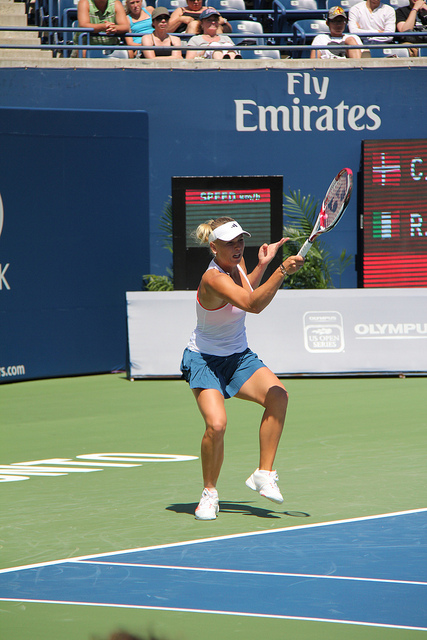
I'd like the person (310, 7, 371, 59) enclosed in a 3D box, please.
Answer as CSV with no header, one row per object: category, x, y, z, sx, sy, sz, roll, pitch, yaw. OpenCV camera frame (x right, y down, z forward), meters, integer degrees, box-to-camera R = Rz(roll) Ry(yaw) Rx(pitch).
person,1.726,-3.933,12.872,0.801,0.859,1.336,0,5,7

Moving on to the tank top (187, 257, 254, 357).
tank top,0.025,0.046,5.500,0.355,0.344,0.365,-1,5,-2

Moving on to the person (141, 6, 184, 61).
person,-0.686,-3.846,12.670,0.581,0.842,1.218,-1,5,-2

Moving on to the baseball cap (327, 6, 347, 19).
baseball cap,1.726,-4.340,13.276,0.222,0.202,0.497,-1,5,3

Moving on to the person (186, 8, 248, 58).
person,-0.030,-4.051,13.253,0.619,0.717,1.148,-2,18,-16

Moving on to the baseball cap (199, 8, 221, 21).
baseball cap,-0.054,-4.302,13.113,0.224,0.190,0.310,-2,5,-10

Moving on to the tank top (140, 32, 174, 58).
tank top,-0.765,-3.742,12.779,0.435,0.365,0.268,-2,5,-9

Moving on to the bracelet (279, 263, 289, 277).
bracelet,0.395,-0.272,5.132,0.039,0.065,0.063,-26,11,-12

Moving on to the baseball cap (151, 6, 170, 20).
baseball cap,-0.730,-4.215,12.847,0.201,0.209,0.371,-2,5,-4
